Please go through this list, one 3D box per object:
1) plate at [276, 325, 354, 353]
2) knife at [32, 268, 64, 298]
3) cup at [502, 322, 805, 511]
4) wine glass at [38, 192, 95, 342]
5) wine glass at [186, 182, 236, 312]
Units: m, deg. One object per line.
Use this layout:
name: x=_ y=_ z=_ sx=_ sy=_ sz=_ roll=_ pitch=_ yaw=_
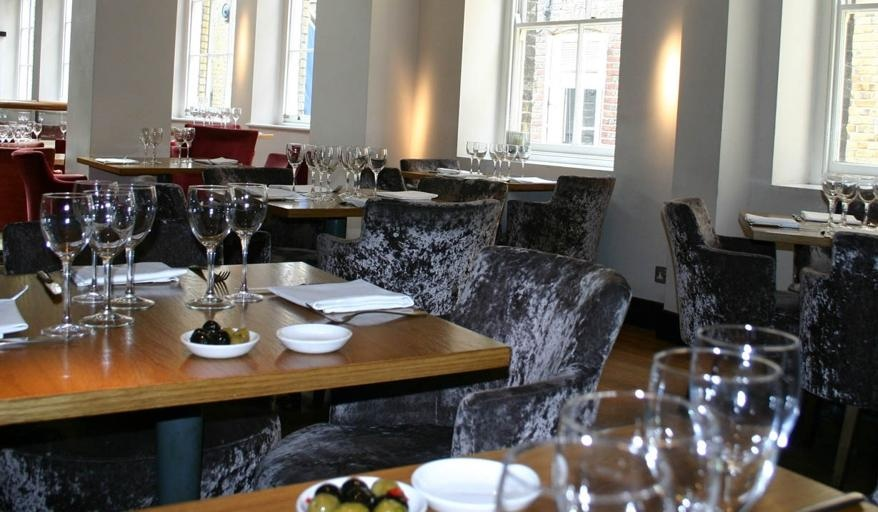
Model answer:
plate: x=-0.310 y=0.209 z=1.623 sx=0.173 sy=0.047 sz=0.146 roll=6 pitch=11 yaw=14
knife: x=-1.153 y=0.083 z=1.891 sx=0.059 sy=0.056 sz=0.353 roll=-29 pitch=23 yaw=-21
cup: x=0.337 y=0.174 z=1.053 sx=0.343 sy=0.405 sz=0.295 roll=3 pitch=1 yaw=-22
wine glass: x=-0.937 y=0.012 z=1.608 sx=0.122 sy=0.340 sz=0.242 roll=-2 pitch=12 yaw=-28
wine glass: x=-0.674 y=-0.039 z=1.868 sx=0.117 sy=0.344 sz=0.264 roll=-1 pitch=11 yaw=-22
